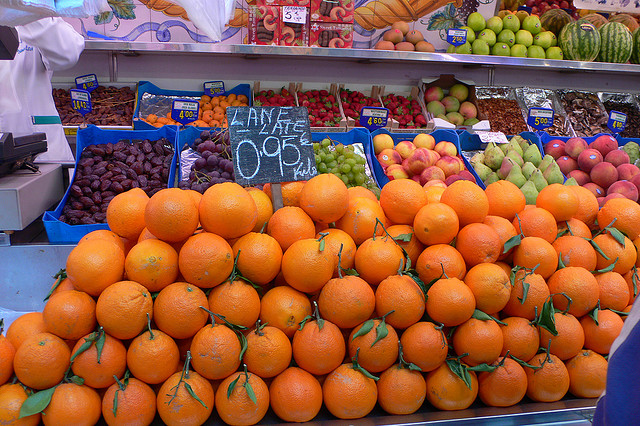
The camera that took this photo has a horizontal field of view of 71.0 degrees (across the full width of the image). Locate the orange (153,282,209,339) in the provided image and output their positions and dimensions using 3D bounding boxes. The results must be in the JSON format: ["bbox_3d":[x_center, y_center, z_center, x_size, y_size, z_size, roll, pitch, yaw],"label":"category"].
[{"bbox_3d":[-0.605,0.419,1.975,0.228,0.224,0.236,-6,33,-34],"label":"orange"}]

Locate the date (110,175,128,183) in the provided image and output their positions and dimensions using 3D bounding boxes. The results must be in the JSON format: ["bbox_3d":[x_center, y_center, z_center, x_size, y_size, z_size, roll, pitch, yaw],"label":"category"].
[{"bbox_3d":[-1.443,-0.239,3.229,0.075,0.020,0.052,10,50,5],"label":"date"}]

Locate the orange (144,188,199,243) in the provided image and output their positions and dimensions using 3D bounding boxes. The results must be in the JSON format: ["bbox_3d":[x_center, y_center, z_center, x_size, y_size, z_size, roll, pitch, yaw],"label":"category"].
[{"bbox_3d":[-0.639,0.013,2.062,0.233,0.232,0.224,-18,23,-5],"label":"orange"}]

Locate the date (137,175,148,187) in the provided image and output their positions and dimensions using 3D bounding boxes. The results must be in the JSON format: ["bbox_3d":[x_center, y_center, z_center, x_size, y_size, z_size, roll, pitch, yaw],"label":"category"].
[{"bbox_3d":[-1.276,-0.223,3.226,0.055,0.025,0.082,-3,52,-23],"label":"date"}]

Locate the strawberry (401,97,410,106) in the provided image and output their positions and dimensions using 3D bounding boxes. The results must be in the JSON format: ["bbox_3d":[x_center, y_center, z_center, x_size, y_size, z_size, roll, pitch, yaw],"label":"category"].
[{"bbox_3d":[0.899,-1.158,4.720,0.072,0.040,0.072,21,10,0],"label":"strawberry"}]

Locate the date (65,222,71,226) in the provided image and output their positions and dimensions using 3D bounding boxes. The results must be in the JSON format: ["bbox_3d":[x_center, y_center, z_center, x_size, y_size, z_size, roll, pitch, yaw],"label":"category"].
[{"bbox_3d":[-1.630,0.069,2.896,0.028,0.007,0.027,2,40,-9],"label":"date"}]

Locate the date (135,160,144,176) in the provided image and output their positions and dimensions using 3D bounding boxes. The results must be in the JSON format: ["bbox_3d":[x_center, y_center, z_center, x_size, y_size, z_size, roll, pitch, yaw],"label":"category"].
[{"bbox_3d":[-1.322,-0.323,3.283,0.046,0.085,0.086,-5,67,-24],"label":"date"}]

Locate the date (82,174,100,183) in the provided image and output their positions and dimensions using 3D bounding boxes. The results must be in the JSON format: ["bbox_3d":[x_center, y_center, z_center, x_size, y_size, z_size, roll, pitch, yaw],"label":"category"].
[{"bbox_3d":[-1.616,-0.233,3.151,0.086,0.031,0.055,0,43,-25],"label":"date"}]

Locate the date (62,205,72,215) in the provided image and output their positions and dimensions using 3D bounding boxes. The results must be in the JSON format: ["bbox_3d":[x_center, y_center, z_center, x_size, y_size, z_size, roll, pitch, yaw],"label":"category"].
[{"bbox_3d":[-1.701,-0.008,3.034,0.057,0.015,0.058,11,56,22],"label":"date"}]

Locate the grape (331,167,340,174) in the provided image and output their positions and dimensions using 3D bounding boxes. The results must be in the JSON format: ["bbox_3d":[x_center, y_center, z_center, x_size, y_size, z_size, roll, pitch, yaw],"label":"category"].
[{"bbox_3d":[0.112,-0.293,3.158,0.039,0.039,0.046,-17,-10,30],"label":"grape"}]

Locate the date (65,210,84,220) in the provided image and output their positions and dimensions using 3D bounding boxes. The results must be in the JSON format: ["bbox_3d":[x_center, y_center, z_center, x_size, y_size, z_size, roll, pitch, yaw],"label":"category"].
[{"bbox_3d":[-1.622,0.019,2.956,0.087,0.048,0.064,1,0,-19],"label":"date"}]

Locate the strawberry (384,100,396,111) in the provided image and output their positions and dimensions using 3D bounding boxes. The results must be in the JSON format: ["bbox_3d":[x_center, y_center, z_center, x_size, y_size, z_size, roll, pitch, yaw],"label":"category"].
[{"bbox_3d":[0.735,-1.108,4.665,0.103,0.056,0.163,1,33,-10],"label":"strawberry"}]

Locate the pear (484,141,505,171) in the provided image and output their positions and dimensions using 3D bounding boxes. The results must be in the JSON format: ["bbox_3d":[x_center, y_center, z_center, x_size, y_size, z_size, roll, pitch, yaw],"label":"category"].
[{"bbox_3d":[1.372,-0.428,3.445,0.162,0.212,0.163,3,18,43],"label":"pear"}]

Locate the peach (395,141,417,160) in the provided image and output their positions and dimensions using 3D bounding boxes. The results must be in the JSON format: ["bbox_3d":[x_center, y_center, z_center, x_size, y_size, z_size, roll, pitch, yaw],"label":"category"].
[{"bbox_3d":[0.699,-0.520,3.681,0.150,0.145,0.141,-4,21,-6],"label":"peach"}]

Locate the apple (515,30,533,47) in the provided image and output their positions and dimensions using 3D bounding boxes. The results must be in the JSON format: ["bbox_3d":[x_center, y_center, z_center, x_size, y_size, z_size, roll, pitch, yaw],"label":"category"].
[{"bbox_3d":[2.118,-1.787,4.636,0.191,0.141,0.142,3,33,-7],"label":"apple"}]

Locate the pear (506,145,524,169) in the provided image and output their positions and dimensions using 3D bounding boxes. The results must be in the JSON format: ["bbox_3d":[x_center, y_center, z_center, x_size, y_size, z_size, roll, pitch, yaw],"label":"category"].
[{"bbox_3d":[1.499,-0.420,3.430,0.124,0.176,0.121,-13,6,-27],"label":"pear"}]

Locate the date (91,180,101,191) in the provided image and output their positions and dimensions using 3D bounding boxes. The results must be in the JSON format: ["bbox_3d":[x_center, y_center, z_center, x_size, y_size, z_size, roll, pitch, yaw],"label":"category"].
[{"bbox_3d":[-1.563,-0.183,3.125,0.047,0.061,0.033,2,-7,-30],"label":"date"}]

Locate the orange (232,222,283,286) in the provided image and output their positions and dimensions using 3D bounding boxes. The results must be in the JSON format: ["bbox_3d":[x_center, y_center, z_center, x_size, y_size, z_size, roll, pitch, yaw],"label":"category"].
[{"bbox_3d":[-0.251,0.174,2.054,0.179,0.193,0.181,-1,27,-13],"label":"orange"}]

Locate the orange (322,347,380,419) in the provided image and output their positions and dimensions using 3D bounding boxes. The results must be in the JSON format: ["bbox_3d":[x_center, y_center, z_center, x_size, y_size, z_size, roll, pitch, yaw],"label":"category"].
[{"bbox_3d":[0.128,0.748,1.910,0.214,0.205,0.155,22,35,21],"label":"orange"}]

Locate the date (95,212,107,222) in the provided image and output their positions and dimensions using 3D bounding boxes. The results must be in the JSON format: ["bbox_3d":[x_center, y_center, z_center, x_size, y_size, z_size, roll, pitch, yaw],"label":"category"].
[{"bbox_3d":[-1.460,0.032,2.983,0.064,0.027,0.048,-30,85,-41],"label":"date"}]

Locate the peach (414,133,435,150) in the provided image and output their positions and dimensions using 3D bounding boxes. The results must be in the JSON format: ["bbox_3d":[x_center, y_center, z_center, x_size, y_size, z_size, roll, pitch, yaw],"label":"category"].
[{"bbox_3d":[0.848,-0.572,3.687,0.126,0.132,0.132,-2,8,18],"label":"peach"}]

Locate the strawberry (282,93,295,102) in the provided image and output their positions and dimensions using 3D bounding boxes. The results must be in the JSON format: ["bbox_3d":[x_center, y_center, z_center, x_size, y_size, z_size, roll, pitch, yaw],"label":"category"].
[{"bbox_3d":[-0.314,-1.174,4.619,0.123,0.083,0.077,-1,69,-13],"label":"strawberry"}]

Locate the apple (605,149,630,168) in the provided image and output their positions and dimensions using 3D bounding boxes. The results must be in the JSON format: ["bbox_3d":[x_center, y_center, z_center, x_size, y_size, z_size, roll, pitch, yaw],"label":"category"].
[{"bbox_3d":[2.188,-0.392,3.308,0.113,0.097,0.099,6,38,-1],"label":"apple"}]

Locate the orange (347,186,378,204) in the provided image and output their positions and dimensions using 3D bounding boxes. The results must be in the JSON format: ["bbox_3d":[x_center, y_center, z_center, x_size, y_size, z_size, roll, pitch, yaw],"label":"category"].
[{"bbox_3d":[0.221,-0.093,2.403,0.094,0.093,0.093,4,3,-4],"label":"orange"}]

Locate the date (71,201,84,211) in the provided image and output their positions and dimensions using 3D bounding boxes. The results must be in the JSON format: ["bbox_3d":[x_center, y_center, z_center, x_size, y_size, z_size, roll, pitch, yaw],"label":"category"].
[{"bbox_3d":[-1.646,-0.040,3.039,0.050,0.037,0.067,-7,15,-41],"label":"date"}]

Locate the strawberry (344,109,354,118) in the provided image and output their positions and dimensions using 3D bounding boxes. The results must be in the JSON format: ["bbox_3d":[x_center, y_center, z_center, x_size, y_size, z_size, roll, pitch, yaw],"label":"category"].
[{"bbox_3d":[0.292,-0.980,4.482,0.086,0.068,0.066,6,-7,13],"label":"strawberry"}]

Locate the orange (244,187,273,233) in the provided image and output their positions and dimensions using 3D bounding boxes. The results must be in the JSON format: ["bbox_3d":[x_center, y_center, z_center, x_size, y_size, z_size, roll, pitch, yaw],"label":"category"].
[{"bbox_3d":[-0.279,-0.011,2.196,0.179,0.219,0.180,0,14,-5],"label":"orange"}]

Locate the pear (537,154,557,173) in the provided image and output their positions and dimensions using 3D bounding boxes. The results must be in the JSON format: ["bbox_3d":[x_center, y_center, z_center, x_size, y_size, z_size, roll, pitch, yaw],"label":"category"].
[{"bbox_3d":[1.640,-0.349,3.262,0.119,0.169,0.123,4,3,-7],"label":"pear"}]

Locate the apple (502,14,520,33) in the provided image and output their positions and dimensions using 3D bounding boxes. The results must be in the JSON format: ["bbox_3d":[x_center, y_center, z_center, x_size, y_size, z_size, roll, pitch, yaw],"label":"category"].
[{"bbox_3d":[2.003,-1.950,4.702,0.177,0.170,0.173,2,11,27],"label":"apple"}]

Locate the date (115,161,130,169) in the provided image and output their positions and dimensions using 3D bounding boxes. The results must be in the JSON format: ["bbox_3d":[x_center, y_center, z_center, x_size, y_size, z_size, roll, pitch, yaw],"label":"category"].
[{"bbox_3d":[-1.448,-0.338,3.282,0.080,0.046,0.028,29,-6,-8],"label":"date"}]

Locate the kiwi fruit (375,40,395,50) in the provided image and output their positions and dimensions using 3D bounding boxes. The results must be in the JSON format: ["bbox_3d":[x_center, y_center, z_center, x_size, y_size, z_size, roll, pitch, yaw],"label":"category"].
[{"bbox_3d":[0.639,-1.642,4.435,0.150,0.113,0.112,-3,0,-8],"label":"kiwi fruit"}]

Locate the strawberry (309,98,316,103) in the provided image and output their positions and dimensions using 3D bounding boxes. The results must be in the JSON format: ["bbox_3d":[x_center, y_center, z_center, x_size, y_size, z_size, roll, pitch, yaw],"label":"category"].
[{"bbox_3d":[-0.076,-1.141,4.590,0.066,0.027,0.094,2,33,-8],"label":"strawberry"}]

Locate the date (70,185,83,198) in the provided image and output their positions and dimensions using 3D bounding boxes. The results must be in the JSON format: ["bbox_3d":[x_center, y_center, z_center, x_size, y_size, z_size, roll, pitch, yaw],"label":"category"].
[{"bbox_3d":[-1.673,-0.143,3.077,0.083,0.039,0.068,37,66,8],"label":"date"}]

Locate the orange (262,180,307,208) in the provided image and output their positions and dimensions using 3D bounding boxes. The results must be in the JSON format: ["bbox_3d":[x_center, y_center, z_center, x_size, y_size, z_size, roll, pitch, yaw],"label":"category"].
[{"bbox_3d":[-0.174,-0.120,2.301,0.157,0.189,0.155,-7,13,-33],"label":"orange"}]

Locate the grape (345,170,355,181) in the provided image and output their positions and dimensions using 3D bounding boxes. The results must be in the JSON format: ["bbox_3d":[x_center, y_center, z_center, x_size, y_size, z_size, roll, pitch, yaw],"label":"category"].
[{"bbox_3d":[0.222,-0.264,3.220,0.064,0.074,0.064,0,10,-9],"label":"grape"}]

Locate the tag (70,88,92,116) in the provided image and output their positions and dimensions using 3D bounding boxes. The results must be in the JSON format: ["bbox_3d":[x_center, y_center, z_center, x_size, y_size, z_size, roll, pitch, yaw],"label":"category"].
[{"bbox_3d":[-2.242,-1.035,4.222,0.158,0.247,0.176,-10,36,-26],"label":"tag"}]

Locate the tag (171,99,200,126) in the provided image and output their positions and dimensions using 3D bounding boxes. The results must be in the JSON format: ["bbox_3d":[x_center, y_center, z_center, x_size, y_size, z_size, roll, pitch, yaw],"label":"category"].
[{"bbox_3d":[-1.255,-0.922,4.165,0.237,0.239,0.092,0,33,-12],"label":"tag"}]

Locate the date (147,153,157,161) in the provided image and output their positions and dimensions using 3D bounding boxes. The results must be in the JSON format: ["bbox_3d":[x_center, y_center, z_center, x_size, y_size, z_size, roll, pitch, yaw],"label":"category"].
[{"bbox_3d":[-1.271,-0.421,3.376,0.037,0.019,0.069,19,43,6],"label":"date"}]

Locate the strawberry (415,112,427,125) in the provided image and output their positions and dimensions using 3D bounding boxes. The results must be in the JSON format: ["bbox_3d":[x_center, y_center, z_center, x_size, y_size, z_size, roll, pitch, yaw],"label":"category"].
[{"bbox_3d":[1.044,-0.963,4.605,0.126,0.069,0.146,13,33,9],"label":"strawberry"}]

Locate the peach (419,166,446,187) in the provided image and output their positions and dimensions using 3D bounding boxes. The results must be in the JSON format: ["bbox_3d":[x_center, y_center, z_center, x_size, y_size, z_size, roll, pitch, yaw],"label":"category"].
[{"bbox_3d":[0.842,-0.264,3.351,0.151,0.171,0.148,8,-4,30],"label":"peach"}]

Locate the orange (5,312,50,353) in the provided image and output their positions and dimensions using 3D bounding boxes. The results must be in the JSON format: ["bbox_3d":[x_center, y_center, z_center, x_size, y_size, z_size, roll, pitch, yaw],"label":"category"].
[{"bbox_3d":[-1.260,0.536,2.006,0.156,0.154,0.156,4,67,-5],"label":"orange"}]

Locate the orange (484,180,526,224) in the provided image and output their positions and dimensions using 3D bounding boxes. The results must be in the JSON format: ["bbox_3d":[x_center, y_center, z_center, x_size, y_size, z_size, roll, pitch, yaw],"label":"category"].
[{"bbox_3d":[0.944,-0.092,2.329,0.147,0.172,0.147,-5,26,15],"label":"orange"}]

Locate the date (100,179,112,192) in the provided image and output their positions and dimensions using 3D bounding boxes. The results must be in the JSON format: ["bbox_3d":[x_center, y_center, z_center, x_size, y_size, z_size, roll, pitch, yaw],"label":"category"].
[{"bbox_3d":[-1.509,-0.187,3.158,0.052,0.028,0.085,22,56,-24],"label":"date"}]

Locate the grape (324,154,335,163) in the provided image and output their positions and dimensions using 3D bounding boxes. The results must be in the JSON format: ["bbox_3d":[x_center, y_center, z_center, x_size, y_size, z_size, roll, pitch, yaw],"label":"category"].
[{"bbox_3d":[0.071,-0.374,3.158,0.054,0.054,0.054,-18,37,23],"label":"grape"}]
